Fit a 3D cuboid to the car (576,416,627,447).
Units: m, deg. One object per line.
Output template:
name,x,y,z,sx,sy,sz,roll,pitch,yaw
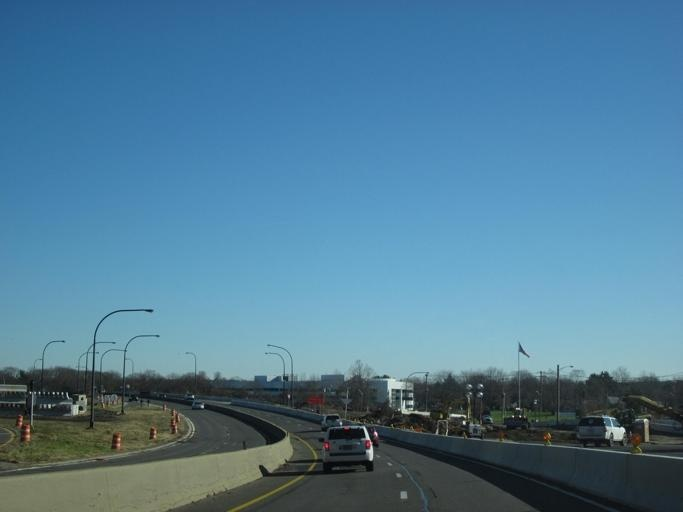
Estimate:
car,18.539,12.583,56.326,1.920,1.653,3.778,-4,-7,37
